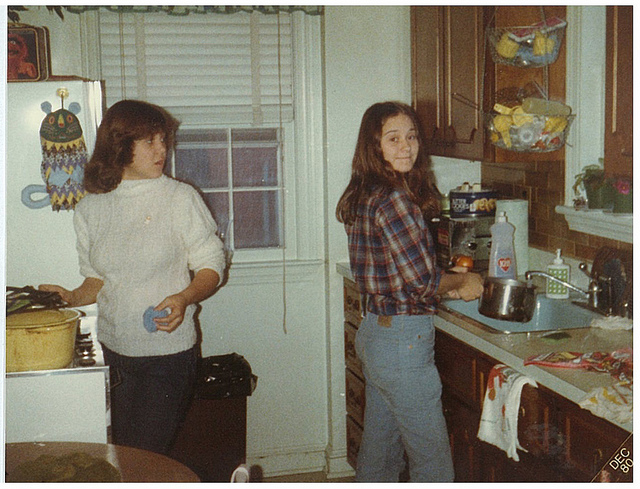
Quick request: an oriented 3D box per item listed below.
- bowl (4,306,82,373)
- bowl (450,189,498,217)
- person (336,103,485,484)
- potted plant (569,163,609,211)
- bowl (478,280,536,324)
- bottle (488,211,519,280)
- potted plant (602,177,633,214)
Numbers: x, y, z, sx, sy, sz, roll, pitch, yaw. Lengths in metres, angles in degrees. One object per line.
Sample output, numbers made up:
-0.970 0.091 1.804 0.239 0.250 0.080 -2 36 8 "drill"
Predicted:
-0.820 0.275 1.621 0.165 0.129 0.193 0 1 -3 "bowl"
0.712 -0.188 2.494 0.144 0.086 0.144 -1 5 0 "bowl"
0.312 0.210 1.875 0.361 1.366 0.363 -12 13 -40 "person"
1.036 -0.223 2.057 0.152 0.148 0.140 -16 13 17 "potted plant"
0.659 0.205 1.975 0.221 0.106 0.131 2 2 27 "bowl"
0.784 0.016 2.342 0.132 0.335 0.079 -5 24 8 "bottle"
1.041 -0.180 1.929 0.100 0.084 0.109 -1 5 9 "potted plant"
